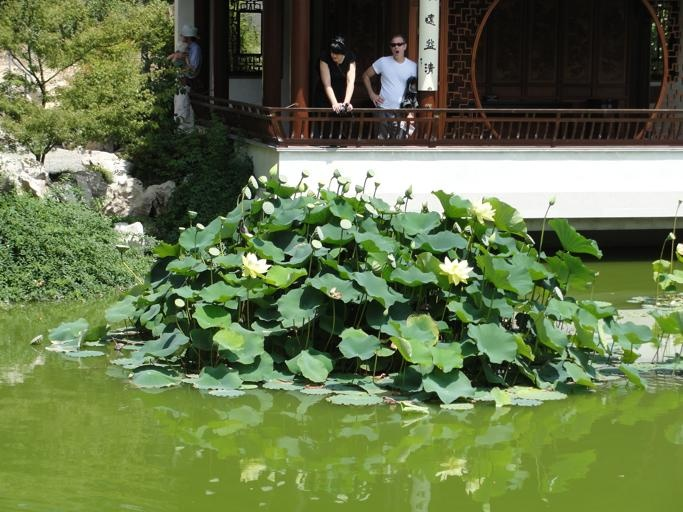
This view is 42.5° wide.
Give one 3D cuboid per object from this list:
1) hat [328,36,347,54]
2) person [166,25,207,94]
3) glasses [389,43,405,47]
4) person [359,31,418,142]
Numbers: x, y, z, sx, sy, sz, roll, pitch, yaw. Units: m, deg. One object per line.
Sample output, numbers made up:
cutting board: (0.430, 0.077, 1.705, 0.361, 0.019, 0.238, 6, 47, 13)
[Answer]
hat: (-0.033, -2.292, 9.458, 0.183, 0.186, 0.263, 0, -5, -2)
person: (-2.218, -2.850, 12.739, 0.369, 0.954, 0.818, 5, 15, 18)
glasses: (0.604, -2.260, 9.398, 0.138, 0.045, 0.113, 0, 15, -3)
person: (0.530, -1.850, 9.616, 0.586, 1.109, 1.265, 1, 14, 1)
